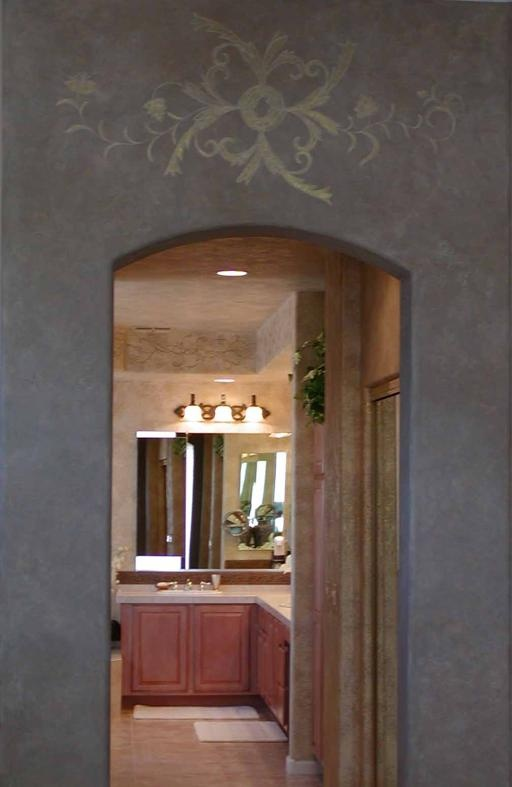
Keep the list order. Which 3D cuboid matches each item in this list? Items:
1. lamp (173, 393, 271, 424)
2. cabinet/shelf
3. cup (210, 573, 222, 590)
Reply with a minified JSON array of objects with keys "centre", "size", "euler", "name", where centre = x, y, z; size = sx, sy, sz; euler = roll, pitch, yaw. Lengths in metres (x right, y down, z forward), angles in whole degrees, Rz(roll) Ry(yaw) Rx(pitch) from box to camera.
[{"centre":[-0.257,0.114,7.576],"size":[0.756,0.241,0.126],"euler":[2,-6,-2],"name":"lamp"},{"centre":[-0.372,1.822,6.243],"size":[0.939,0.609,0.976],"euler":[1,-8,-4],"name":"cabinet/shelf"},{"centre":[-0.293,1.386,7.196],"size":[0.092,0.147,0.088],"euler":[1,-7,0],"name":"cup"}]
